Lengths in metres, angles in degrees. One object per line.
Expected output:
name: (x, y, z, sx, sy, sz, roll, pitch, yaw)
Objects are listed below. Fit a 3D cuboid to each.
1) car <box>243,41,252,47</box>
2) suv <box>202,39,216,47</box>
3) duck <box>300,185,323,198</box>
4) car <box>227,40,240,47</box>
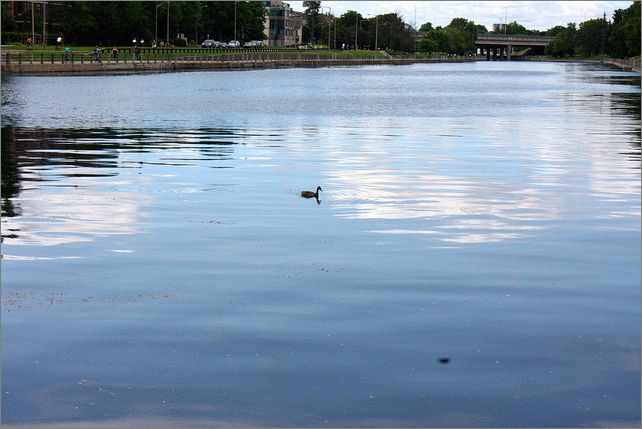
car: (-11.734, -26.438, 162.017, 1.723, 1.041, 2.461, 2, 15, 4)
suv: (-16.317, -24.258, 147.478, 1.902, 1.083, 2.606, -1, -2, -2)
duck: (-0.293, -0.551, 25.761, 0.512, 0.276, 0.855, 0, 11, -1)
car: (-12.966, -24.456, 149.256, 1.570, 0.841, 2.963, 2, 12, 8)
